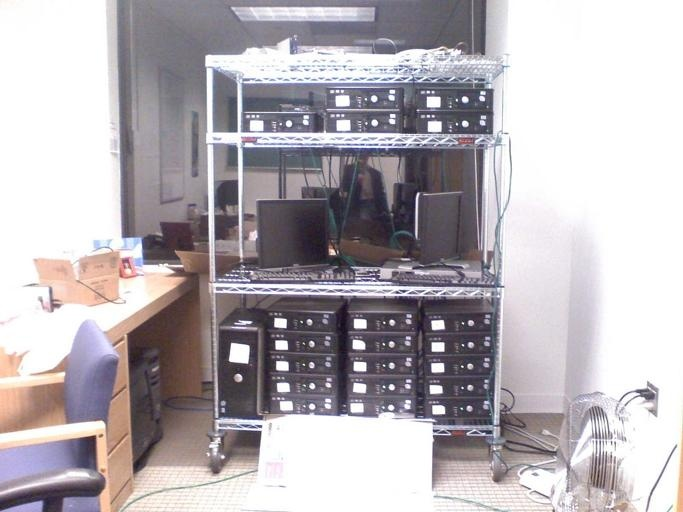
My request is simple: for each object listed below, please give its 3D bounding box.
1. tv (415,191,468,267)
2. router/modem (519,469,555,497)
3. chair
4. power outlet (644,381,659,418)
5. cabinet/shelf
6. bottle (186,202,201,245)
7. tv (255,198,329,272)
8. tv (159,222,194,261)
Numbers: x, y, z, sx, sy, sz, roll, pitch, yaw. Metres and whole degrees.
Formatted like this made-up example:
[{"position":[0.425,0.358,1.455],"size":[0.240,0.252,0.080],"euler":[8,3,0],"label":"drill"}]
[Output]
[{"position":[0.534,-0.174,3.704],"size":[0.150,0.392,0.412],"euler":[10,12,43],"label":"tv"},{"position":[1.031,1.205,3.450],"size":[0.184,0.084,0.207],"euler":[1,5,18],"label":"router/modem"},{"position":[-1.142,0.660,2.615],"size":[0.443,0.725,0.547],"euler":[-3,5,-28],"label":"chair"},{"position":[1.485,0.678,3.105],"size":[0.028,0.115,0.081],"euler":[-1,4,-9],"label":"power outlet"},{"position":[0.102,-0.038,3.826],"size":[1.630,2.200,0.648],"euler":[1,14,4],"label":"cabinet/shelf"},{"position":[-0.991,-0.227,4.341],"size":[0.087,0.251,0.041],"euler":[-2,4,-14],"label":"bottle"},{"position":[-0.287,-0.131,3.752],"size":[0.438,0.398,0.043],"euler":[-4,6,-26],"label":"tv"},{"position":[-1.088,-0.112,4.392],"size":[0.234,0.271,0.162],"euler":[-9,-22,-1],"label":"tv"}]
